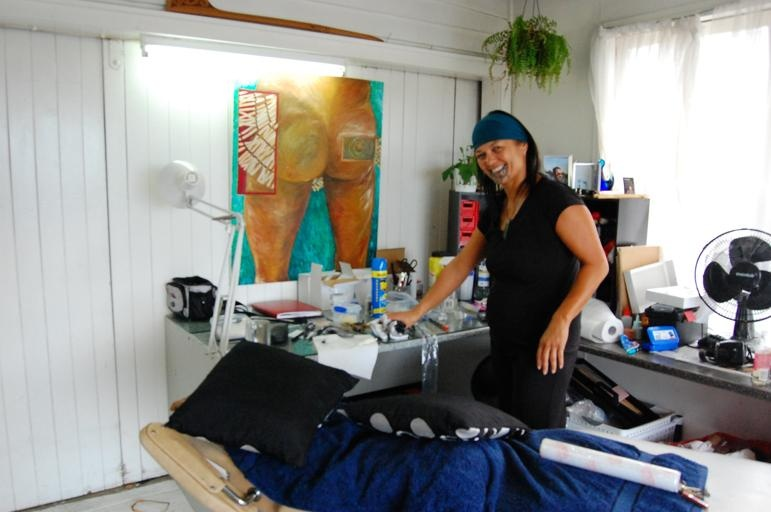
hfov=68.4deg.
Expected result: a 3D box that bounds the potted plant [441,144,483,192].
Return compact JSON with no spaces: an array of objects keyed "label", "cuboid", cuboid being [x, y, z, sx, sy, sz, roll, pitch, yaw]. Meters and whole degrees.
[{"label":"potted plant","cuboid":[0.597,-0.675,4.346,0.348,0.322,0.354,0,9,6]}]

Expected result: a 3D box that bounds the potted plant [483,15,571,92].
[{"label":"potted plant","cuboid":[1.079,-1.432,4.014,0.434,0.353,0.436,-3,26,10]}]

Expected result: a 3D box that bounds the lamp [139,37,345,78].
[{"label":"lamp","cuboid":[-0.979,-1.283,3.717,1.037,0.106,0.179,-1,-24,-23]}]

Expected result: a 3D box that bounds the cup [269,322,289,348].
[{"label":"cup","cuboid":[-0.605,0.451,3.260,0.113,0.172,0.115,-3,-7,0]}]

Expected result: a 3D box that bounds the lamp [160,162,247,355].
[{"label":"lamp","cuboid":[-1.069,-0.043,3.424,0.467,1.086,0.896,-7,10,-21]}]

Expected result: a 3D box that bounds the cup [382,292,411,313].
[{"label":"cup","cuboid":[0.079,0.307,3.838,0.126,0.237,0.140,2,5,-20]}]

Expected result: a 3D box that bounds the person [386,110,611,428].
[{"label":"person","cuboid":[0.703,0.067,3.002,0.474,1.647,0.779,-7,11,-24]}]

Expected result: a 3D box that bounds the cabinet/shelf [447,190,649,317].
[{"label":"cabinet/shelf","cuboid":[0.988,-0.009,3.215,0.841,0.754,0.269,0,3,-13]}]
